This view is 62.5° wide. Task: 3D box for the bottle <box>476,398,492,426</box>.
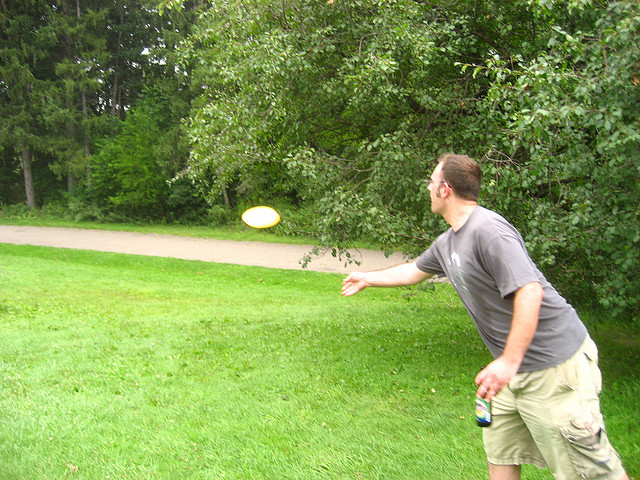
[{"bbox_3d":[1.305,1.354,4.172,0.079,0.304,0.072,0,49,-1],"label":"bottle"}]
